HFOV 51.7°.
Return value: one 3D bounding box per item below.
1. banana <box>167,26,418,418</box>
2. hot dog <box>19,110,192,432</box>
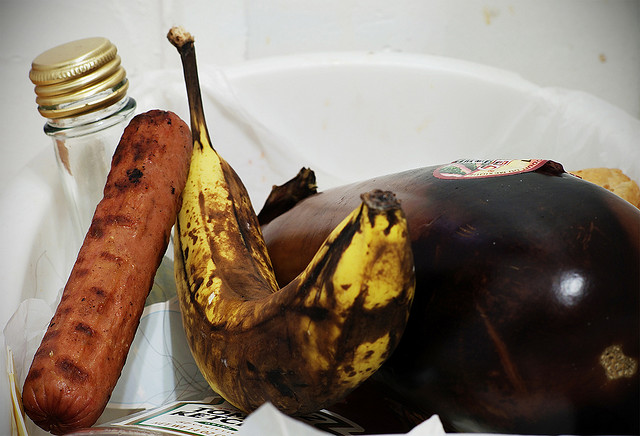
[{"bbox_3d":[-0.092,0.001,0.788,0.223,0.237,0.471,-24,51,-18],"label":"banana"},{"bbox_3d":[-0.195,0.013,0.865,0.115,0.148,0.504,16,61,2],"label":"hot dog"}]
